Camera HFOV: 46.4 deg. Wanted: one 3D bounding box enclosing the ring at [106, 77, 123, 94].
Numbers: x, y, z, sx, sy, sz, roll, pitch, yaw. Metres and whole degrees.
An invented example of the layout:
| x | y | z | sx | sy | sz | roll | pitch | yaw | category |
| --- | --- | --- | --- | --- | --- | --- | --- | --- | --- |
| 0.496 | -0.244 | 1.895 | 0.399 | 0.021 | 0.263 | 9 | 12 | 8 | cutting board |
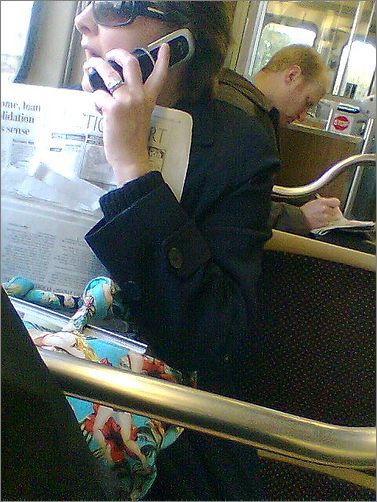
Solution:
| x | y | z | sx | sy | sz | roll | pitch | yaw | category |
| --- | --- | --- | --- | --- | --- | --- | --- | --- | --- |
| -0.126 | -0.279 | 0.737 | 0.031 | 0.022 | 0.012 | -22 | -14 | 18 | ring |

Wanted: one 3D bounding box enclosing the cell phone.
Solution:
| x | y | z | sx | sy | sz | roll | pitch | yaw | category |
| --- | --- | --- | --- | --- | --- | --- | --- | --- | --- |
| -0.074 | -0.333 | 0.824 | 0.195 | 0.095 | 0.050 | -19 | -17 | 0 | cell phone |
